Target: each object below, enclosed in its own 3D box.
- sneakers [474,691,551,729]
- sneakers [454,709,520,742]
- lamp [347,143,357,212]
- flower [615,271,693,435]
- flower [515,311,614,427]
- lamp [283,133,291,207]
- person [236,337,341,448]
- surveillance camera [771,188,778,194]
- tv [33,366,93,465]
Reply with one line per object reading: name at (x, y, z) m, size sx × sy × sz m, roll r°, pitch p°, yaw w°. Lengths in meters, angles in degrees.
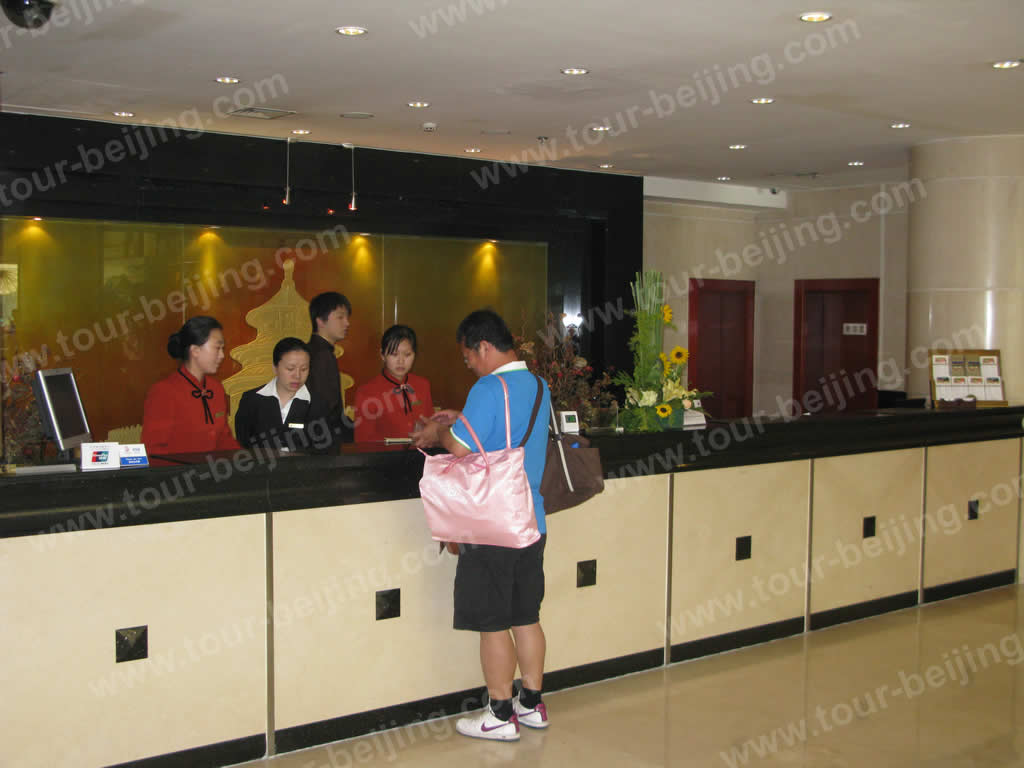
sneakers at (0.001, 1.719, 4.889) m, size 0.152 × 0.212 × 0.441 m, roll 0°, pitch -2°, yaw -42°
sneakers at (-0.123, 1.787, 4.771) m, size 0.360 × 0.177 × 0.142 m, roll 4°, pitch -4°, yaw 16°
lamp at (-1.592, -2.029, 9.028) m, size 0.107 × 0.627 × 0.074 m, roll -2°, pitch 8°, yaw -30°
flower at (0.908, -0.217, 5.780) m, size 0.439 × 0.966 × 0.632 m, roll 6°, pitch 8°, yaw 34°
flower at (0.410, -0.166, 7.416) m, size 0.850 × 1.104 × 0.788 m, roll 1°, pitch -11°, yaw -6°
lamp at (-2.174, -2.020, 8.693) m, size 0.087 × 0.622 × 0.086 m, roll -1°, pitch 7°, yaw -25°
person at (-1.393, 0.087, 5.608) m, size 0.636 × 0.739 × 1.805 m, roll 0°, pitch 8°, yaw -11°
surveillance camera at (3.604, -2.633, 12.388) m, size 0.093 × 0.072 × 0.144 m, roll 4°, pitch 8°, yaw 20°
tv at (-2.311, 0.164, 4.641) m, size 0.231 × 0.514 × 0.545 m, roll -2°, pitch 8°, yaw -26°
